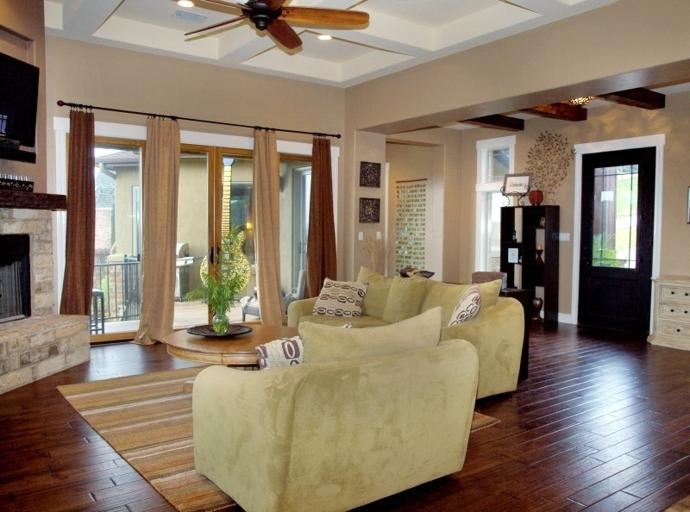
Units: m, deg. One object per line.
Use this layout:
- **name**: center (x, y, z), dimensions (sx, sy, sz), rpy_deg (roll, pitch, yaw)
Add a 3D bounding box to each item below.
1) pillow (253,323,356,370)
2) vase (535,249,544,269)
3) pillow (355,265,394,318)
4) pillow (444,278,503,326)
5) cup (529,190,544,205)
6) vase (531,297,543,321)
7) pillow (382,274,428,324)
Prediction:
- **pillow**: center (-0.367, 0.558, 3.032), dimensions (0.409, 0.331, 0.123), rpy_deg (-10, 14, -9)
- **vase**: center (3.281, 0.033, 8.005), dimensions (0.145, 0.288, 0.248), rpy_deg (3, 6, 22)
- **pillow**: center (0.363, 0.447, 5.629), dimensions (0.151, 0.472, 0.485), rpy_deg (11, 5, -39)
- **pillow**: center (1.182, 0.429, 4.445), dimensions (0.298, 0.366, 0.695), rpy_deg (6, 7, 40)
- **cup**: center (3.214, -0.958, 8.095), dimensions (0.309, 0.304, 0.223), rpy_deg (0, 4, 10)
- **vase**: center (3.214, 0.880, 7.923), dimensions (0.209, 0.354, 0.154), rpy_deg (1, 6, 5)
- **pillow**: center (0.621, 0.460, 4.916), dimensions (0.244, 0.428, 0.484), rpy_deg (-5, -3, -39)
